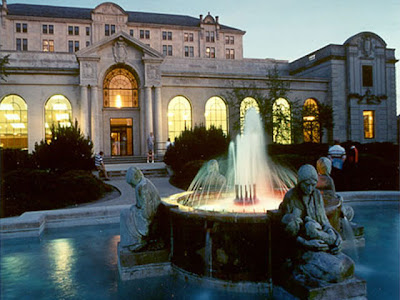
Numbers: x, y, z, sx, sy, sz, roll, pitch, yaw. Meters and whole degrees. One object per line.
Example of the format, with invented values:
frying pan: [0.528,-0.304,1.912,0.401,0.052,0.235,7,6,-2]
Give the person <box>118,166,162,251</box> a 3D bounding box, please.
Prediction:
person: [-1.710,1.563,11.159,1.101,2.292,1.030,-4,12,-10]

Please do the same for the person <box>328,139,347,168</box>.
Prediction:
person: [6.607,0.276,19.224,0.881,0.763,2.393,-3,-38,16]

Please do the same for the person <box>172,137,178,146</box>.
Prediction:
person: [-1.475,-0.508,24.201,0.238,0.596,1.295,-2,14,-9]

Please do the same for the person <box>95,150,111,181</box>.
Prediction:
person: [-5.583,0.855,22.559,0.757,1.714,2.782,-4,14,-15]

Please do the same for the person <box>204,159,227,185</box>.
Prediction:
person: [0.662,1.158,19.816,1.037,1.600,0.843,-1,-13,9]

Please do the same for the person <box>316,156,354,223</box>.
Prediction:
person: [4.008,1.171,12.101,0.964,1.849,1.102,-1,-3,3]
